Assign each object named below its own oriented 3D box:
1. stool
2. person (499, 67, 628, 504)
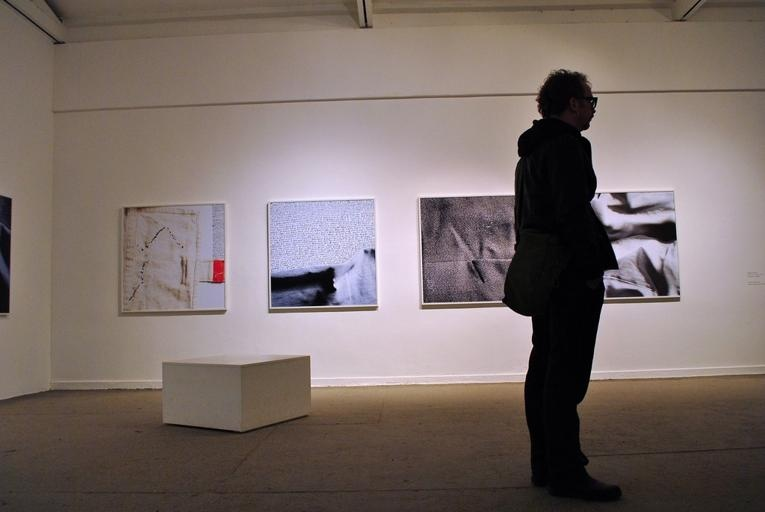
[{"bbox_3d":[-1.654,1.524,7.520,0.991,0.594,1.023,-1,-2,22],"label":"stool"},{"bbox_3d":[1.560,0.224,5.780,0.885,3.716,0.461,-1,1,18],"label":"person"}]
